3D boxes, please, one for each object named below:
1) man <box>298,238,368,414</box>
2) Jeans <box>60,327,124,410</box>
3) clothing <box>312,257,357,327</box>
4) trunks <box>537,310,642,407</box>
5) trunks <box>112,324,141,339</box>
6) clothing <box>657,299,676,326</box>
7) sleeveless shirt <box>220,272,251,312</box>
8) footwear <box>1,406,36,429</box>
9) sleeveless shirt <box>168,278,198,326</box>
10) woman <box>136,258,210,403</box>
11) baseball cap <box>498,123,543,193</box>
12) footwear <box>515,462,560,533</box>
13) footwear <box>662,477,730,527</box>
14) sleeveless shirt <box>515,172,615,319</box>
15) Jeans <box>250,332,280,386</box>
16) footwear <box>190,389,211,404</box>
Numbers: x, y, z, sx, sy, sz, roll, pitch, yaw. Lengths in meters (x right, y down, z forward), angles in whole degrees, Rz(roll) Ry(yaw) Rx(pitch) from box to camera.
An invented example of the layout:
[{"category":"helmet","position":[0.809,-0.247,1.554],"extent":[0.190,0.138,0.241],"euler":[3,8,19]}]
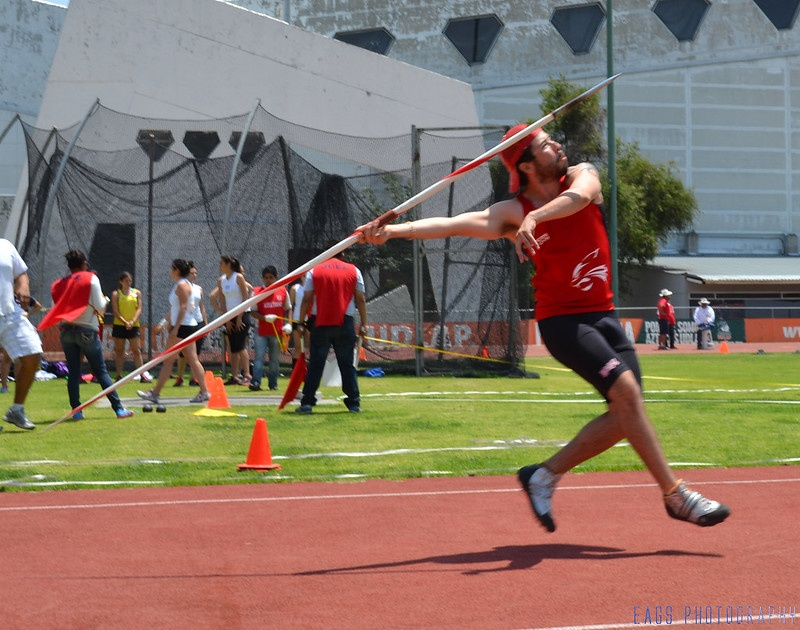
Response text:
[{"category":"man","position":[-0.874,0.133,14.543],"extent":[0.842,2.099,0.733],"euler":[2,0,-3]},{"category":"Jeans","position":[-3.793,0.597,14.066],"extent":[0.641,1.211,0.352],"euler":[-3,14,4]},{"category":"clothing","position":[-0.894,-0.289,14.393],"extent":[0.705,0.774,0.417],"euler":[0,3,-33]},{"category":"trunks","position":[1.442,0.305,8.830],"extent":[0.782,0.668,0.345],"euler":[0,8,5]},{"category":"trunks","position":[-4.340,0.265,18.190],"extent":[0.430,0.280,0.233],"euler":[1,-4,-14]},{"category":"clothing","position":[7.664,-0.074,33.287],"extent":[0.498,0.794,0.839],"euler":[-4,5,-12]},{"category":"sleeveless shirt","position":[-2.484,-0.385,17.073],"extent":[0.340,0.460,0.273],"euler":[4,15,30]},{"category":"footwear","position":[-4.282,1.138,12.964],"extent":[0.286,0.321,0.359],"euler":[0,8,-2]},{"category":"sleeveless shirt","position":[-3.161,-0.172,16.670],"extent":[0.478,0.646,0.518],"euler":[-5,11,-31]},{"category":"woman","position":[-3.473,0.205,17.523],"extent":[1.322,0.674,2.348],"euler":[-2,39,-4]},{"category":"baseball cap","position":[0.890,-1.213,9.035],"extent":[0.263,0.482,0.348],"euler":[16,20,8]},{"category":"footwear","position":[1.095,1.344,8.926],"extent":[0.316,0.587,0.204],"euler":[-20,7,8]},{"category":"footwear","position":[2.229,1.403,8.712],"extent":[0.498,0.316,0.243],"euler":[2,22,44]},{"category":"sleeveless shirt","position":[1.335,-0.479,9.111],"extent":[0.730,1.047,0.664],"euler":[7,-17,-30]},{"category":"Jeans","position":[-2.006,0.630,17.471],"extent":[0.430,0.853,0.265],"euler":[4,-14,6]},{"category":"footwear","position":[-2.649,1.095,15.398],"extent":[0.395,0.165,0.158],"euler":[-3,-6,44]}]
